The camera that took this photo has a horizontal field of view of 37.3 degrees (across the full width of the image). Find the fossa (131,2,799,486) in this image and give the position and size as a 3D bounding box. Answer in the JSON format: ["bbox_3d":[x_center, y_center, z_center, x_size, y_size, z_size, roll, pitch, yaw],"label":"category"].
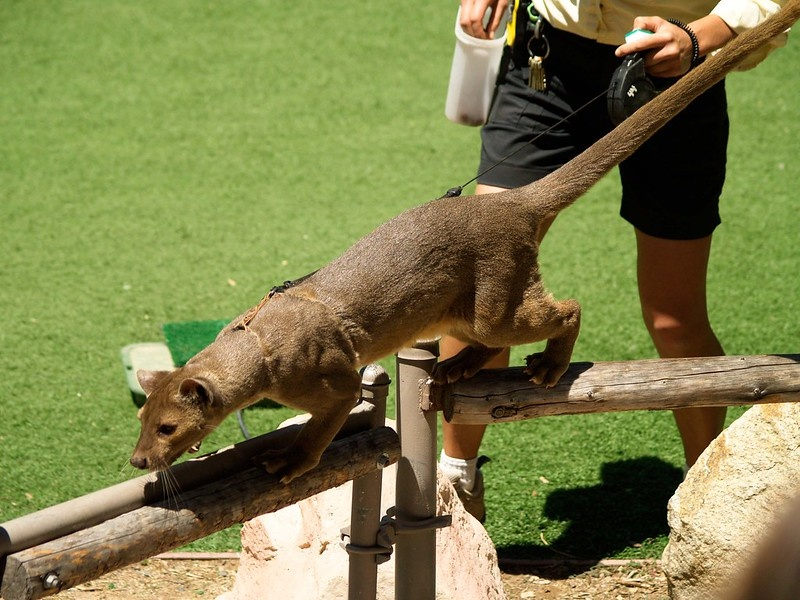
[{"bbox_3d":[0.381,-0.234,6.059,3.720,1.237,0.734,-37,54,-5],"label":"fossa"}]

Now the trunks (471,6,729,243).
[{"bbox_3d":[0.879,-0.812,5.233,1.056,0.395,0.956,11,83,8],"label":"trunks"}]
